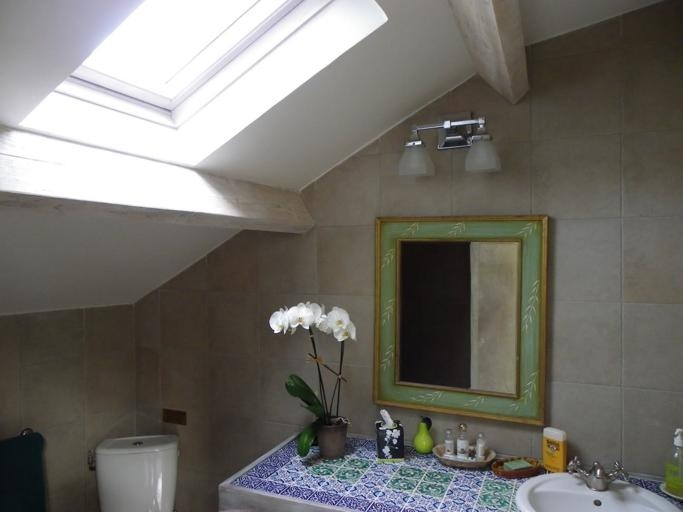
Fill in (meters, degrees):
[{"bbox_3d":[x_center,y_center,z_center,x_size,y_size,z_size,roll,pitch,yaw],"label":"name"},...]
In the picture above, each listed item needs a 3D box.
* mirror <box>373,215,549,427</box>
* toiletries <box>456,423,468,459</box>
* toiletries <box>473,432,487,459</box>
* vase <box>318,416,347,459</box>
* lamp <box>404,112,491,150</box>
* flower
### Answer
[{"bbox_3d":[0.657,0.334,2.700,0.976,1.215,0.045,1,2,25],"label":"mirror"},{"bbox_3d":[0.619,0.915,2.660,0.064,0.141,0.178,1,14,12],"label":"toiletries"},{"bbox_3d":[0.702,0.945,2.625,0.050,0.112,0.153,2,14,15],"label":"toiletries"},{"bbox_3d":[-0.035,0.963,2.711,0.146,0.149,0.151,5,-17,-11],"label":"vase"},{"bbox_3d":[0.540,-0.625,2.657,0.412,0.167,0.258,2,14,16],"label":"lamp"},{"bbox_3d":[-0.132,0.610,2.816,0.443,0.784,0.622,-2,13,1],"label":"flower"}]
